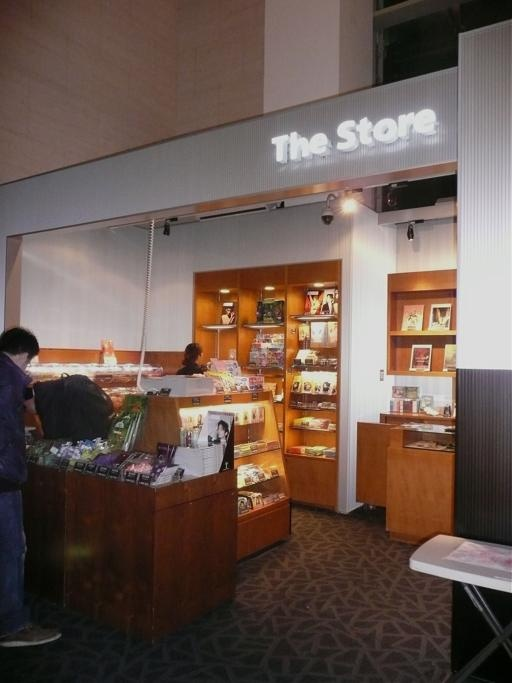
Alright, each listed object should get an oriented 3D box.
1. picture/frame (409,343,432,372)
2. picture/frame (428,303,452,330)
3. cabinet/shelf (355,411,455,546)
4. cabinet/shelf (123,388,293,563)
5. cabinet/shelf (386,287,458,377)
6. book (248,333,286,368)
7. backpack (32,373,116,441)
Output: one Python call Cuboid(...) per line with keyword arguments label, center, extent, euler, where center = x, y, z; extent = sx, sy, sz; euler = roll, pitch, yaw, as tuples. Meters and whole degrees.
Cuboid(label="picture/frame", center=(1.817, 0.176, 5.974), extent=(0.273, 0.384, 0.029), euler=(3, -13, 42))
Cuboid(label="picture/frame", center=(1.976, -0.268, 5.818), extent=(0.013, 0.320, 0.220), euler=(20, -24, -35))
Cuboid(label="cabinet/shelf", center=(1.383, 1.289, 5.050), extent=(1.132, 1.039, 0.599), euler=(-2, -3, 39))
Cuboid(label="cabinet/shelf", center=(-0.355, 0.926, 3.752), extent=(0.462, 1.324, 1.371), euler=(-2, -1, 25))
Cuboid(label="cabinet/shelf", center=(1.791, -0.121, 5.812), extent=(0.905, 1.053, 0.327), euler=(2, 2, 24))
Cuboid(label="book", center=(0.139, 0.123, 6.730), extent=(0.404, 0.382, 0.198), euler=(1, -1, 41))
Cuboid(label="backpack", center=(-1.283, 0.482, 3.821), extent=(0.438, 0.613, 0.321), euler=(12, 15, 34))
